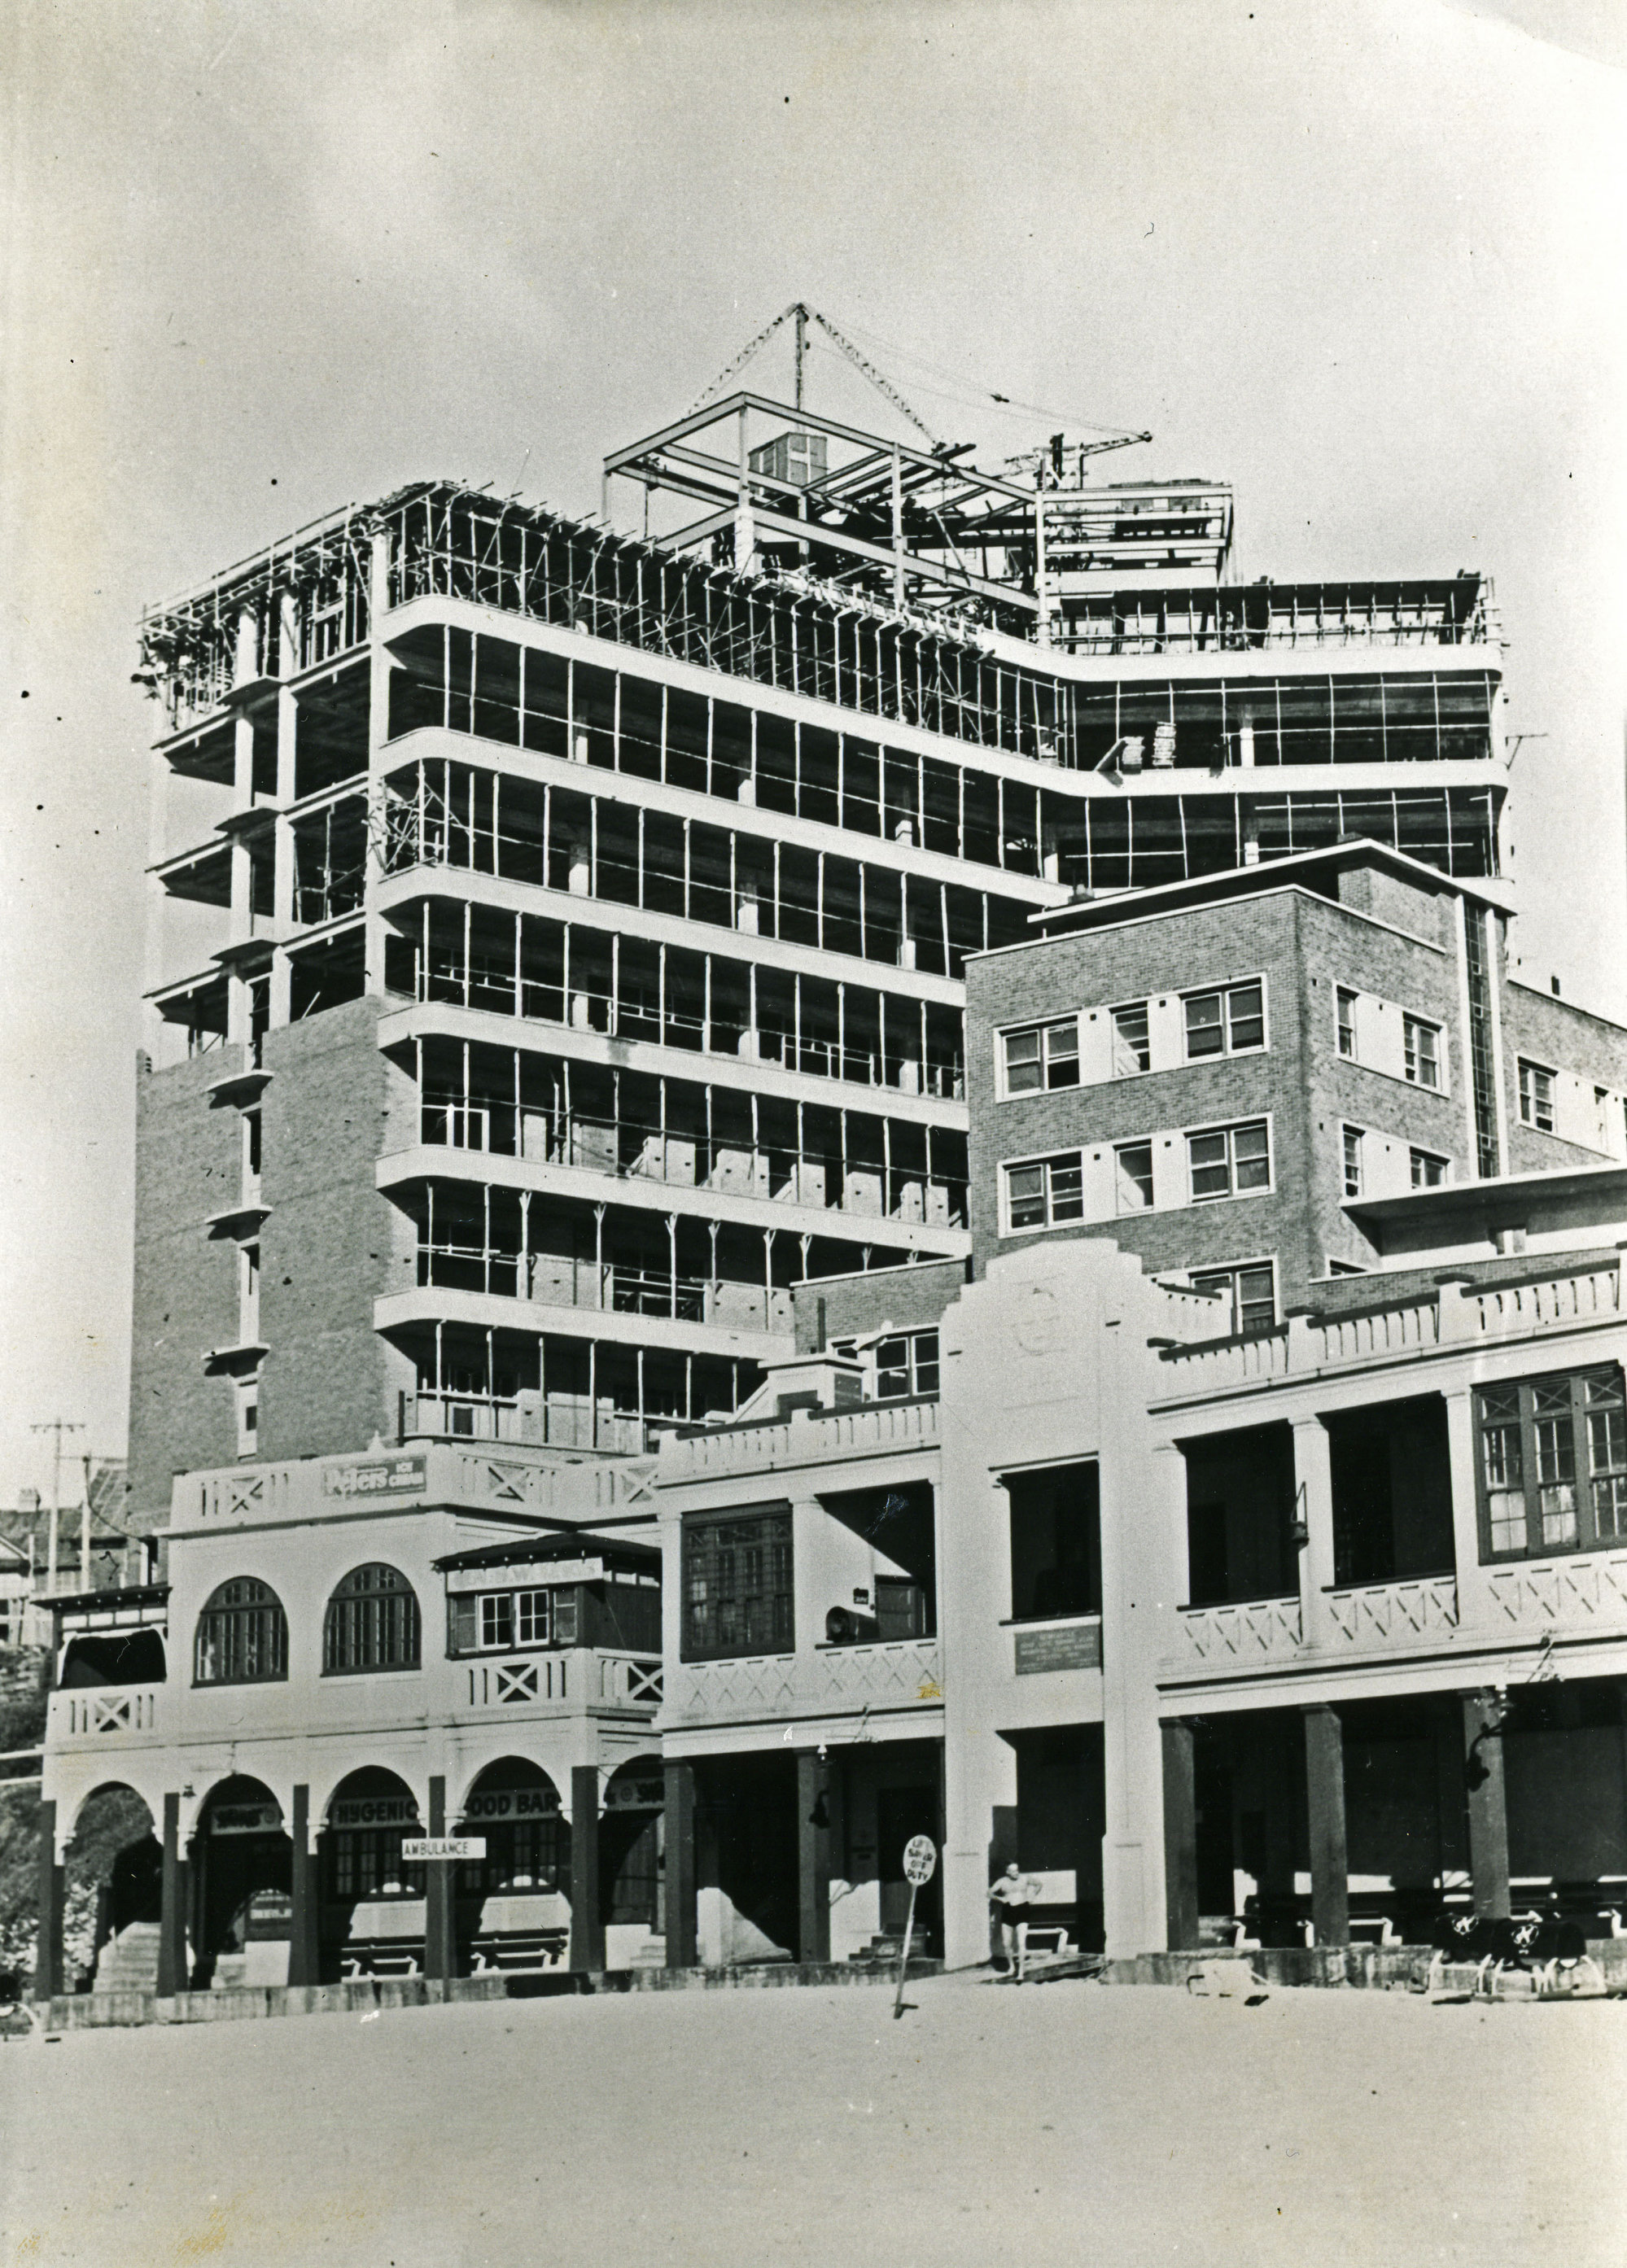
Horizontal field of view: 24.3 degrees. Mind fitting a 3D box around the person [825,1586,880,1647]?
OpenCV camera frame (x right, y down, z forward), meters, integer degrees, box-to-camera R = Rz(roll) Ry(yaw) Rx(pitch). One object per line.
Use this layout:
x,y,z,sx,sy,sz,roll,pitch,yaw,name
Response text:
0.507,6.098,48.284,0.815,0.685,0.427,-1,-7,-18,person
